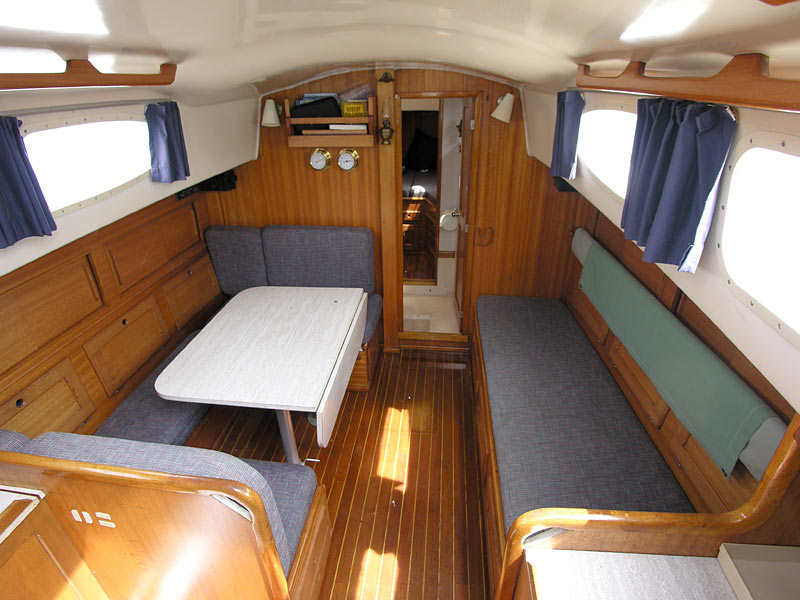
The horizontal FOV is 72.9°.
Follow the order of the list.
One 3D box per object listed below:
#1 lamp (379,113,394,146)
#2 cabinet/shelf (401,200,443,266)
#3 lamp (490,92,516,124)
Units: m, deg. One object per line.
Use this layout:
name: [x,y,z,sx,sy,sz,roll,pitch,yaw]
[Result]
lamp: [-0.112,-1.403,4.485,0.118,0.233,0.098,-1,23,-3]
cabinet/shelf: [0.255,-0.984,7.118,0.721,1.031,0.979,-1,0,2]
lamp: [0.830,-1.534,4.355,0.178,0.235,0.209,5,23,10]
